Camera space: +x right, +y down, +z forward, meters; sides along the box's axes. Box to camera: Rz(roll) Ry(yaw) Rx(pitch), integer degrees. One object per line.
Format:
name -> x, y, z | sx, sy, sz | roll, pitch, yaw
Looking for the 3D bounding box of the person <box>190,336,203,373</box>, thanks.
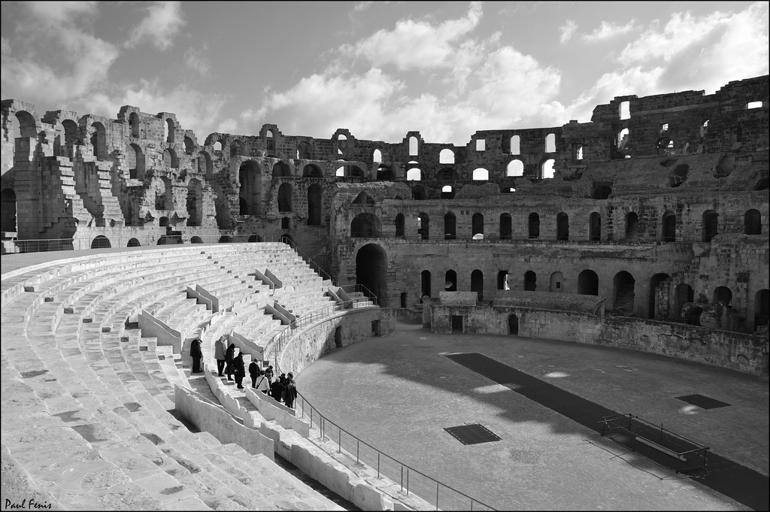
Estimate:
person -> -6.432, 3.341, 19.633 | 0.351, 1.100, 0.522 | -3, 11, -17
